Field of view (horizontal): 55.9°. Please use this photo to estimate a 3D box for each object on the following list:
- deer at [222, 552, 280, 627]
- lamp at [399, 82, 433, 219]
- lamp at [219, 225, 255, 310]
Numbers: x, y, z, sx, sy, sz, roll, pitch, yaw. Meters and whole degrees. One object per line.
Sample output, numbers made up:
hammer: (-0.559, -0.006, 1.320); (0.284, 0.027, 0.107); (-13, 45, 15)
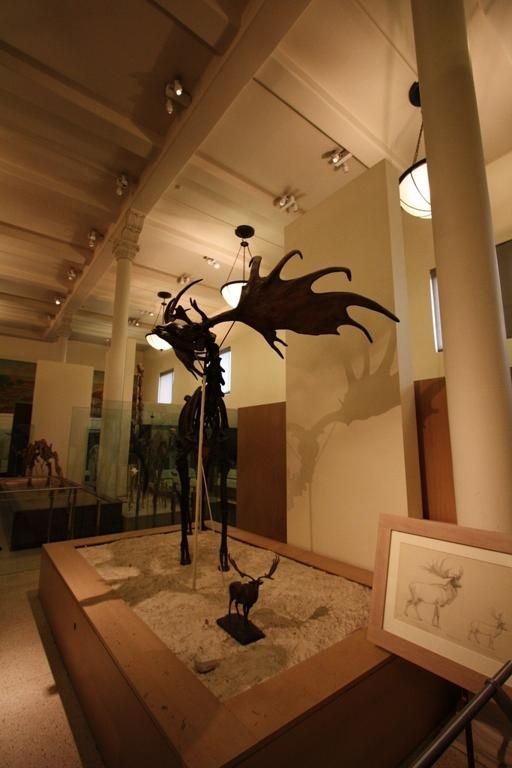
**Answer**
deer: (-0.040, 0.954, 2.222); (0.188, 0.349, 0.282); (13, -10, -29)
lamp: (1.264, -1.764, 3.642); (0.320, 0.794, 0.344); (-21, 31, -11)
lamp: (-0.172, -1.517, 6.230); (0.406, 0.993, 0.428); (0, -8, 22)
